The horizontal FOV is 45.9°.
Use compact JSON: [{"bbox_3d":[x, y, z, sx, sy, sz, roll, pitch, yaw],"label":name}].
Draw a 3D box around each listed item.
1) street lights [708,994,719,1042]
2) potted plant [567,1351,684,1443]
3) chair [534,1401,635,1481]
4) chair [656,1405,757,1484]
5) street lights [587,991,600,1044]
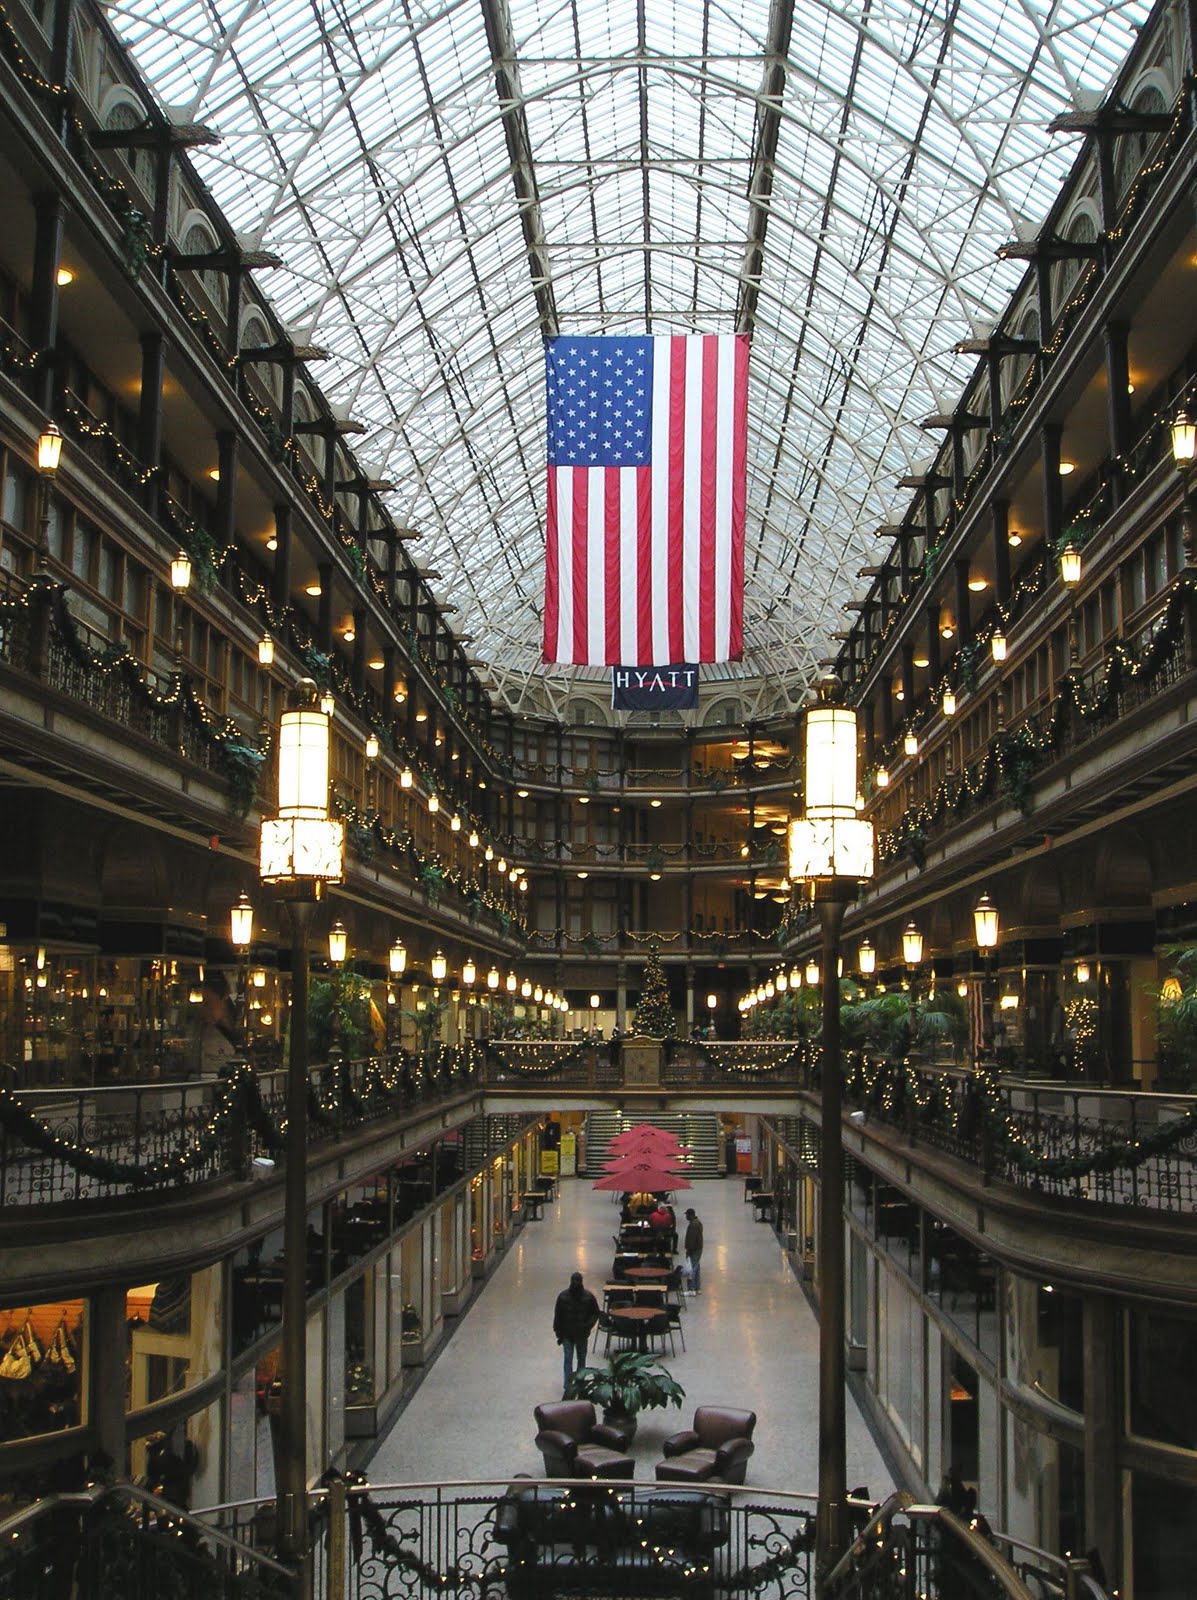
[{"bbox_3d":[5.667,10.795,70.717,0.483,1.964,0.949,-3,-13,7],"label":"street lights"},{"bbox_3d":[0.344,8.385,20.382,1.389,1.266,1.487,1,-2,-7],"label":"potted plant"},{"bbox_3d":[-0.216,7.760,17.137,1.097,0.657,1.849,-1,-14,-3],"label":"chair"},{"bbox_3d":[1.254,7.662,16.790,0.855,1.037,1.123,-10,-33,28],"label":"chair"},{"bbox_3d":[-0.248,10.469,70.144,0.439,1.780,0.448,4,-14,-24],"label":"street lights"}]
